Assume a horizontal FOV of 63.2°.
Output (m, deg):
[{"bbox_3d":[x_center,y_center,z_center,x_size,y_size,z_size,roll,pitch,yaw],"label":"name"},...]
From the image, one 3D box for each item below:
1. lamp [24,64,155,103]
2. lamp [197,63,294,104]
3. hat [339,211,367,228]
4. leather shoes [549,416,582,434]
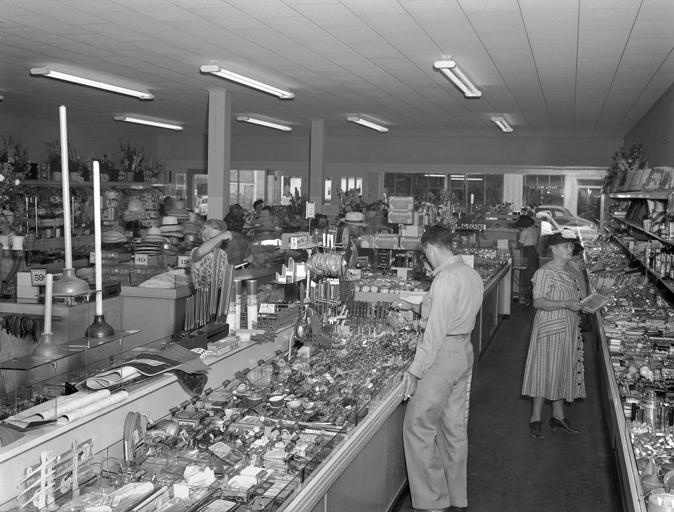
[{"bbox_3d":[-3.879,-2.786,8.843,0.340,0.189,2.232,11,12,21],"label":"lamp"},{"bbox_3d":[-1.437,-2.660,8.488,1.392,0.111,0.295,12,37,-17],"label":"lamp"},{"bbox_3d":[0.141,-0.470,6.891,0.334,0.146,0.371,2,2,-40],"label":"hat"},{"bbox_3d":[2.253,1.655,5.451,0.327,0.153,0.122,3,0,22],"label":"leather shoes"}]
